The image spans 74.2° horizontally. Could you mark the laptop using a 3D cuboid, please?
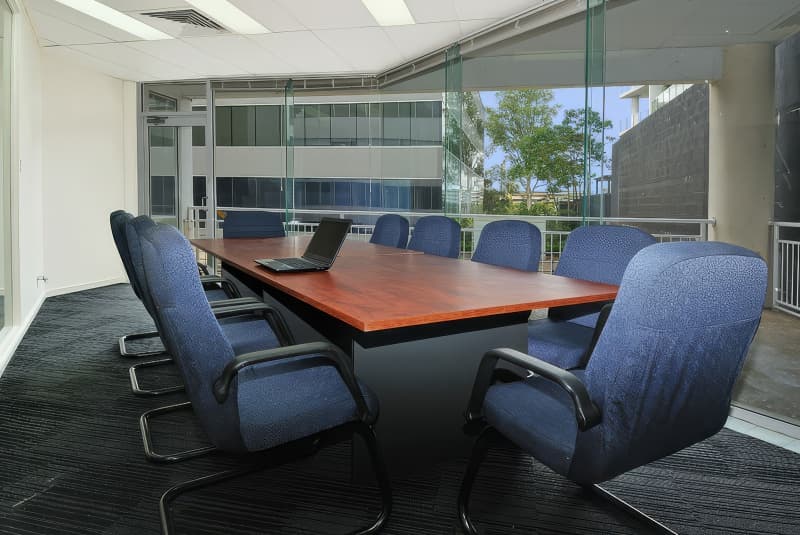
[{"bbox_3d":[-0.629,-0.126,3.529,0.465,0.291,0.480,2,4,-29],"label":"laptop"}]

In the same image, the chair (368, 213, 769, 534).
[{"bbox_3d":[0.852,0.418,3.081,1.339,1.450,2.198,-2,11,-10],"label":"chair"}]
